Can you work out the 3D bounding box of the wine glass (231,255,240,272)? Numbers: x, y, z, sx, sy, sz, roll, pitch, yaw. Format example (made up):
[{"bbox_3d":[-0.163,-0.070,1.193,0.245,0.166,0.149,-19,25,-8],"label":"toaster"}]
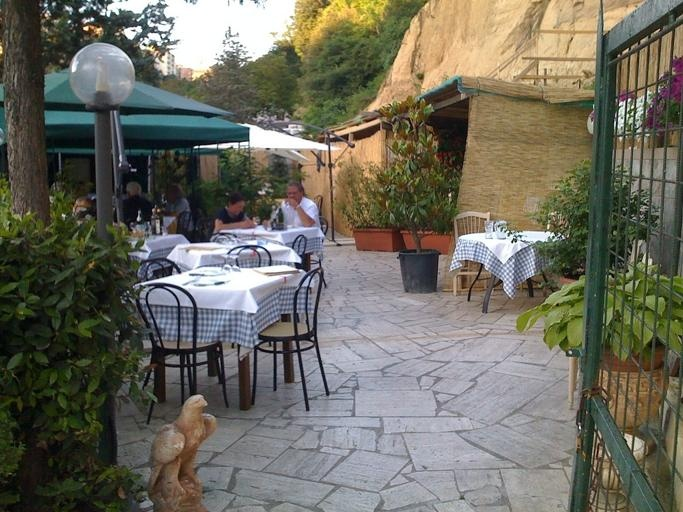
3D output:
[{"bbox_3d":[-1.193,0.067,6.680,0.151,0.169,0.151,-2,9,-21],"label":"wine glass"}]

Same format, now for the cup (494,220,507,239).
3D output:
[{"bbox_3d":[2.136,-0.369,8.165,0.197,0.315,0.210,0,-1,0],"label":"cup"}]

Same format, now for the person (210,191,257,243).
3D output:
[{"bbox_3d":[-1.697,-0.623,9.355,0.635,1.034,0.619,1,4,38],"label":"person"}]

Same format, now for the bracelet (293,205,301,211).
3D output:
[{"bbox_3d":[-0.750,-0.821,9.934,0.098,0.129,0.141,-1,-5,1],"label":"bracelet"}]

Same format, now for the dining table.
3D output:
[{"bbox_3d":[2.443,0.241,8.461,1.572,1.031,1.452,17,17,42],"label":"dining table"}]

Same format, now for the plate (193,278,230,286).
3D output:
[{"bbox_3d":[-1.140,0.219,5.204,0.293,0.024,0.310,-1,6,3],"label":"plate"}]
